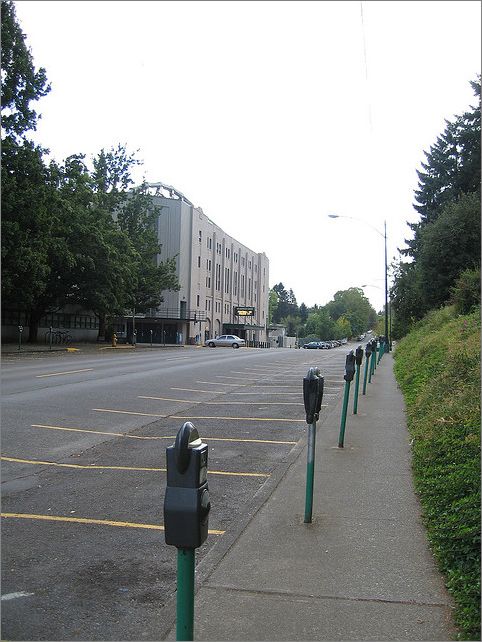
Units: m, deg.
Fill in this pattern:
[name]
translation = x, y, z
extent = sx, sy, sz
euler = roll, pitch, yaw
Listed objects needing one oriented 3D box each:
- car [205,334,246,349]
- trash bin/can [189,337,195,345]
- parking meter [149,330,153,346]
[car]
translation = -1.628, 2.002, 57.472
extent = 2.879, 1.237, 5.187
euler = 3, -4, -21
[trash bin/can]
translation = -5.302, 2.136, 62.055
extent = 0.662, 1.183, 0.572
euler = 0, 0, 20
[parking meter]
translation = -9.573, 1.550, 60.935
extent = 0.282, 1.196, 0.871
euler = 1, -2, 3
